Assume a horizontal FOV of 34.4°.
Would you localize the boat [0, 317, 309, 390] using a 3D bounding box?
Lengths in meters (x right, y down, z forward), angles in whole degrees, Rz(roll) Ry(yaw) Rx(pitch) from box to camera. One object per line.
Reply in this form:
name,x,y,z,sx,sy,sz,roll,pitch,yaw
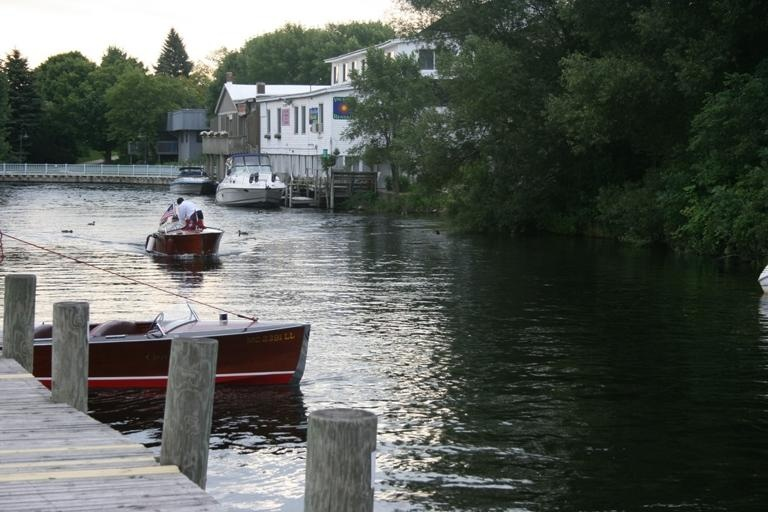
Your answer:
boat,-4.726,2.243,29.042,7.934,1.607,2.270,-1,5,-5
